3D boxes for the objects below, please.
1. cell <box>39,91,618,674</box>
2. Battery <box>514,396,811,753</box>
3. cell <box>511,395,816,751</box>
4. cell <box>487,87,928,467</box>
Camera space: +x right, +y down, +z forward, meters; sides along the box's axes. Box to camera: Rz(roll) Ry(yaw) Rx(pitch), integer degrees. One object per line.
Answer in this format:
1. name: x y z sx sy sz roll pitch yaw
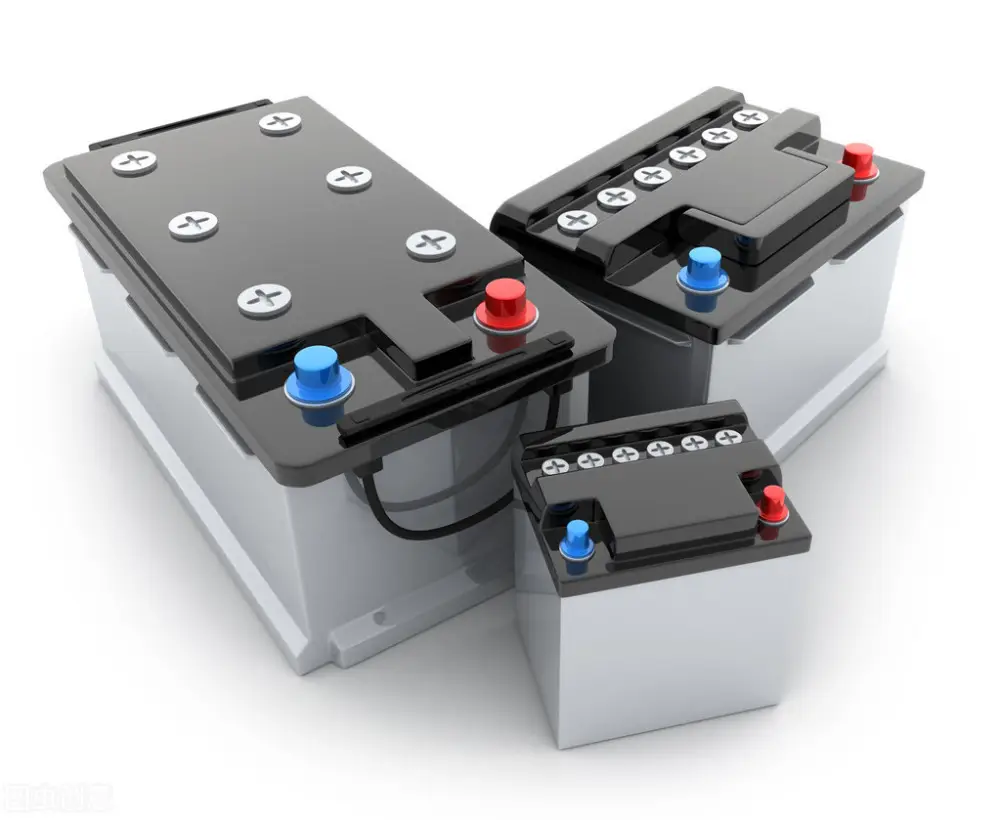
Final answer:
1. cell: -0.341 -0.111 2.435 1.010 0.851 1.559 -24 48 -28
2. Battery: 0.277 0.316 1.766 0.590 0.553 0.404 -10 43 -10
3. cell: 0.277 0.315 1.773 0.591 0.552 0.403 -10 43 -10
4. cell: 0.497 -0.375 2.438 0.824 0.522 0.635 -33 56 -21
